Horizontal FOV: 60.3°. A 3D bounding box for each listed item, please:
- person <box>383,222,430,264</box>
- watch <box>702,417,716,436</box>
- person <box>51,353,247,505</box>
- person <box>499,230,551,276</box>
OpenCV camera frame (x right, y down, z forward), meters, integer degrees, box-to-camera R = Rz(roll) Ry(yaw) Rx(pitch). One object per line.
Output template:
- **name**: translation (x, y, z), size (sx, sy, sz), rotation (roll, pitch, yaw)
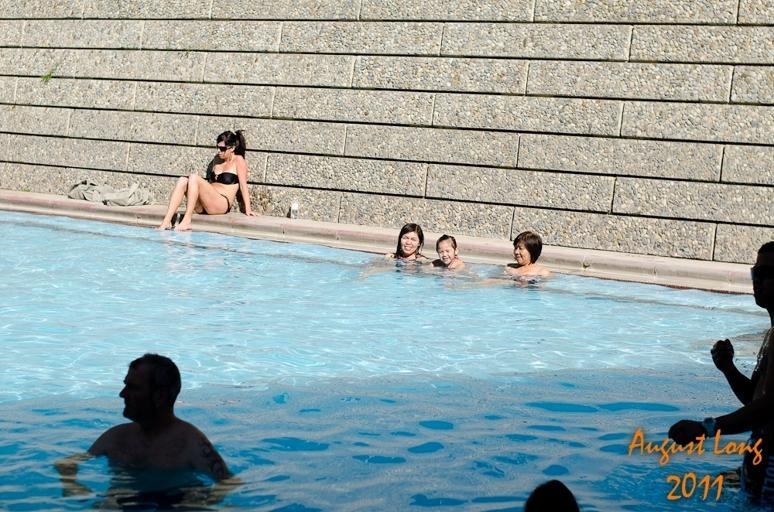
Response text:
- **person**: translation (0.365, -0.117, 9.537), size (0.977, 0.654, 0.560), rotation (2, -4, 4)
- **watch**: translation (1.409, 0.762, 2.917), size (0.078, 0.078, 0.037), rotation (-1, -9, 12)
- **person**: translation (-1.229, 0.875, 3.323), size (0.914, 0.736, 0.427), rotation (6, 14, 7)
- **person**: translation (1.923, -0.021, 9.059), size (0.497, 0.572, 0.775), rotation (1, 4, -33)
